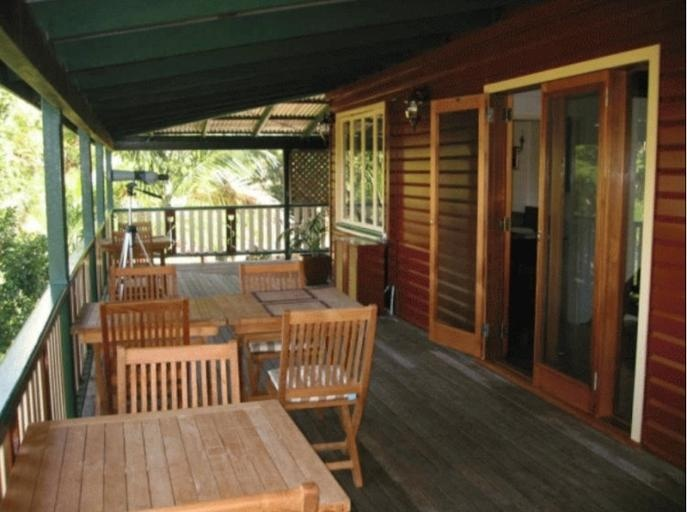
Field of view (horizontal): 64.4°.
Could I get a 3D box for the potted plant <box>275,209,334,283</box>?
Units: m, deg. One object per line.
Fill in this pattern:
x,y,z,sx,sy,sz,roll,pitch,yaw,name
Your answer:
-0.633,-0.212,9.015,1.006,1.569,0.987,-4,16,-7,potted plant

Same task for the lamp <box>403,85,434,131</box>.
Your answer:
0.757,-1.639,6.079,0.299,0.633,0.425,-3,10,-20,lamp
